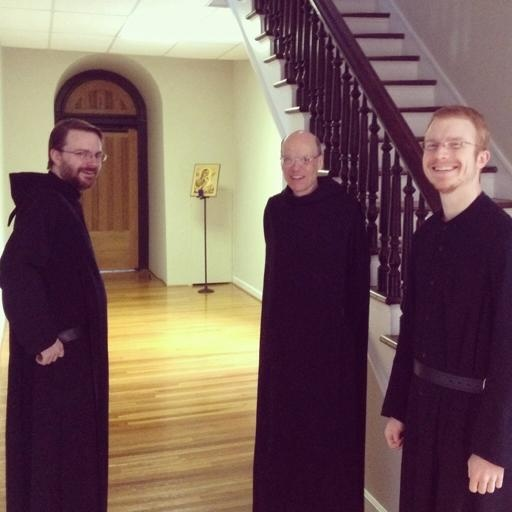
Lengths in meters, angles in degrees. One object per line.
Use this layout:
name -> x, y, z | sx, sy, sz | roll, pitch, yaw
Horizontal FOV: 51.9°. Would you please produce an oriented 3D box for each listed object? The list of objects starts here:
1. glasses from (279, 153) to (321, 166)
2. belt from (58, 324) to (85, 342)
glasses -> 0.186, -0.403, 2.224 | 0.171, 0.054, 0.120 | 3, 7, 8
belt -> -0.726, 0.310, 2.057 | 0.055, 0.034, 0.058 | -19, 1, 38
